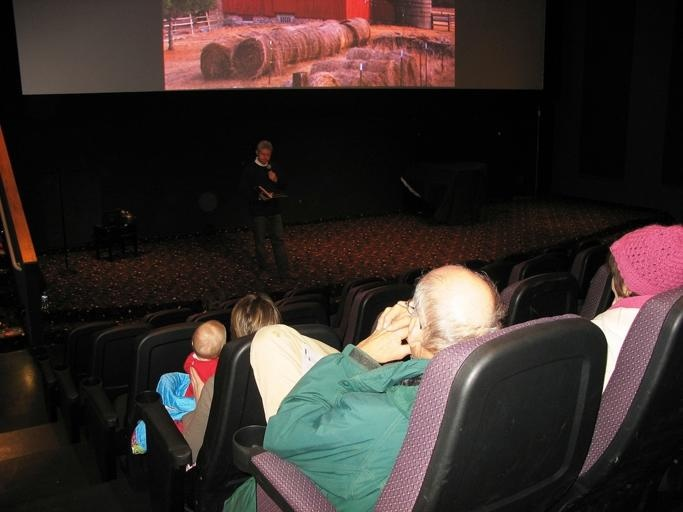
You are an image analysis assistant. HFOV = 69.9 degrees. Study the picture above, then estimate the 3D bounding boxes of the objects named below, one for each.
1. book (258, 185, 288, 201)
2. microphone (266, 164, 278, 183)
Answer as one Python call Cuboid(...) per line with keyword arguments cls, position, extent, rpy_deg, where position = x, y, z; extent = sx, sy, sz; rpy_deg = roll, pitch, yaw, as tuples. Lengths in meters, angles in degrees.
Cuboid(cls="book", position=(-0.899, -0.821, 6.403), extent=(0.322, 0.135, 0.133), rpy_deg=(-1, -14, -39))
Cuboid(cls="microphone", position=(-0.918, -1.077, 6.381), extent=(0.069, 0.210, 0.142), rpy_deg=(-13, 16, 42))
